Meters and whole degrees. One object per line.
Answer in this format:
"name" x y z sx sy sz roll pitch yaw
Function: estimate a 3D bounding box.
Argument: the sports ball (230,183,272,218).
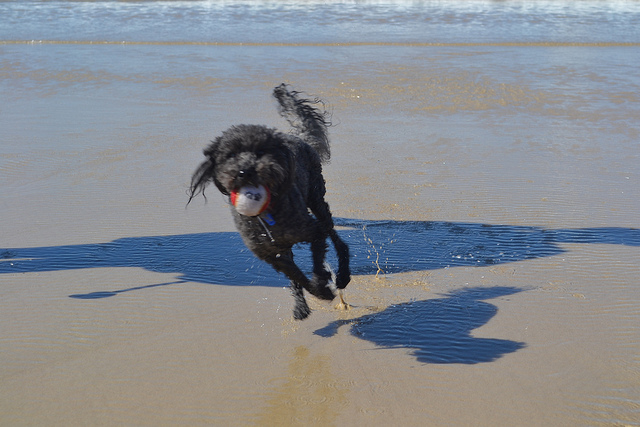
"sports ball" -0.833 -0.123 9.709 0.673 0.269 0.482 -3 -17 -8
